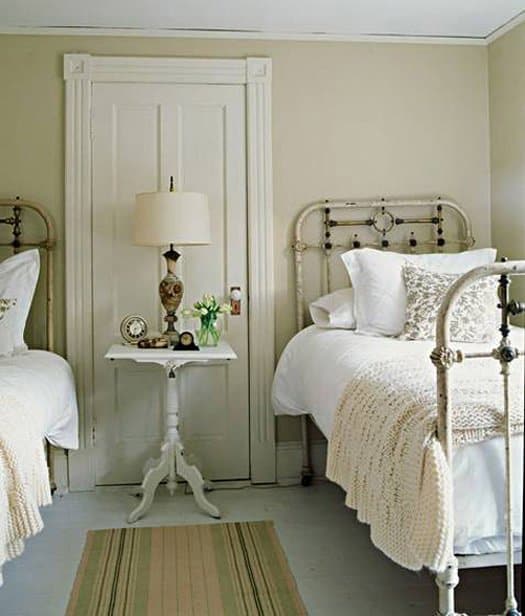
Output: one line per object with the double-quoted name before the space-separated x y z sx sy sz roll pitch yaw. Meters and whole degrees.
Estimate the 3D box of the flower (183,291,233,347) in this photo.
"flower" -0.255 0.048 3.011 0.247 0.237 0.242 -1 -1 -8

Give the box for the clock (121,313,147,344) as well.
"clock" -0.584 0.091 3.042 0.121 0.117 0.125 12 9 43

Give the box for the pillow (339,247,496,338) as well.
"pillow" 0.549 -0.103 2.857 0.486 0.447 0.139 -4 -2 -29

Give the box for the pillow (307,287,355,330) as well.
"pillow" 0.325 0.006 3.044 0.195 0.093 0.190 -9 10 6

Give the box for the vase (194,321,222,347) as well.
"vase" -0.239 0.121 3.017 0.103 0.176 0.104 2 0 -4

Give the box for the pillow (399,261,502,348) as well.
"pillow" 0.683 0.003 2.424 0.317 0.287 0.095 1 -12 17

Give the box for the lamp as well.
"lamp" -0.415 -0.224 3.020 0.332 0.760 0.405 -2 7 -11

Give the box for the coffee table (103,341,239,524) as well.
"coffee table" -0.404 0.528 2.985 0.518 0.732 0.573 -2 6 -8

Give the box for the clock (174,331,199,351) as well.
"clock" -0.330 0.145 2.856 0.083 0.060 0.026 -1 -1 0
